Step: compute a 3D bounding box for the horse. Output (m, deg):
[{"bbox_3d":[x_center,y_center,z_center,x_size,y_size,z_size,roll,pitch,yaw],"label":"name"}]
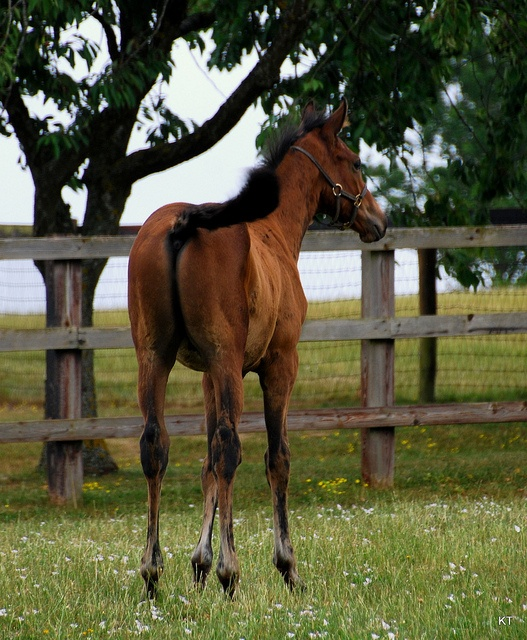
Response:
[{"bbox_3d":[-0.063,0.200,12.527,0.876,3.886,3.813,2,2,23],"label":"horse"}]
